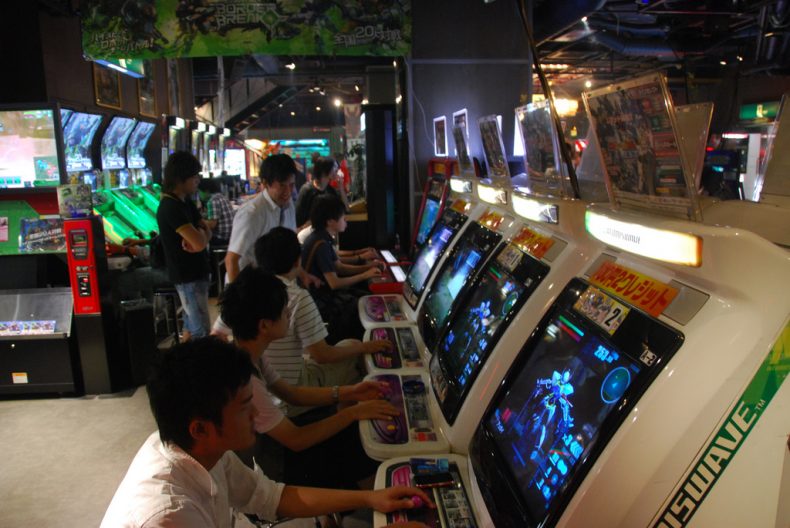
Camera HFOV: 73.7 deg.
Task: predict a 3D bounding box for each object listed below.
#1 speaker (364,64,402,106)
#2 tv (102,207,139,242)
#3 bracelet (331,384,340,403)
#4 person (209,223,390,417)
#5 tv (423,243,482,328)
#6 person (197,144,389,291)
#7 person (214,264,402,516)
[{"bbox_3d":[-0.226,-3.094,9.042,0.459,0.583,0.365,-5,12,-15],"label":"speaker"},{"bbox_3d":[-3.732,-0.518,7.045,0.359,0.363,0.697,-5,12,-13],"label":"tv"},{"bbox_3d":[-0.307,0.658,2.695,0.049,0.069,0.077,2,-32,8],"label":"bracelet"},{"bbox_3d":[-0.598,0.510,3.183,0.660,1.373,0.707,6,5,38],"label":"person"},{"bbox_3d":[0.316,0.128,3.018,0.097,0.383,0.421,29,-9,-7],"label":"tv"},{"bbox_3d":[-0.821,-0.524,4.638,0.879,1.877,0.986,14,21,27],"label":"person"},{"bbox_3d":[-0.424,0.618,2.835,0.839,1.503,0.717,-15,39,-13],"label":"person"}]
